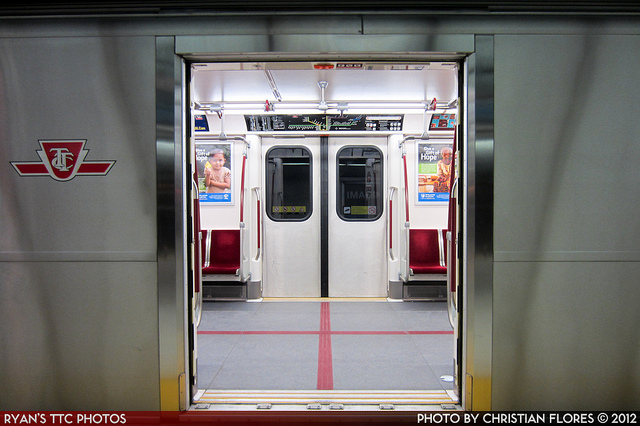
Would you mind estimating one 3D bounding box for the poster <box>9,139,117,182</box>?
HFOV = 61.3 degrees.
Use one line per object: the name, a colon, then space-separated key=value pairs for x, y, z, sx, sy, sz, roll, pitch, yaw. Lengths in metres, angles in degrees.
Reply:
poster: x=-2.553 y=-0.523 z=5.359 sx=1.020 sy=0.402 sz=0.042 roll=0 pitch=5 yaw=2
